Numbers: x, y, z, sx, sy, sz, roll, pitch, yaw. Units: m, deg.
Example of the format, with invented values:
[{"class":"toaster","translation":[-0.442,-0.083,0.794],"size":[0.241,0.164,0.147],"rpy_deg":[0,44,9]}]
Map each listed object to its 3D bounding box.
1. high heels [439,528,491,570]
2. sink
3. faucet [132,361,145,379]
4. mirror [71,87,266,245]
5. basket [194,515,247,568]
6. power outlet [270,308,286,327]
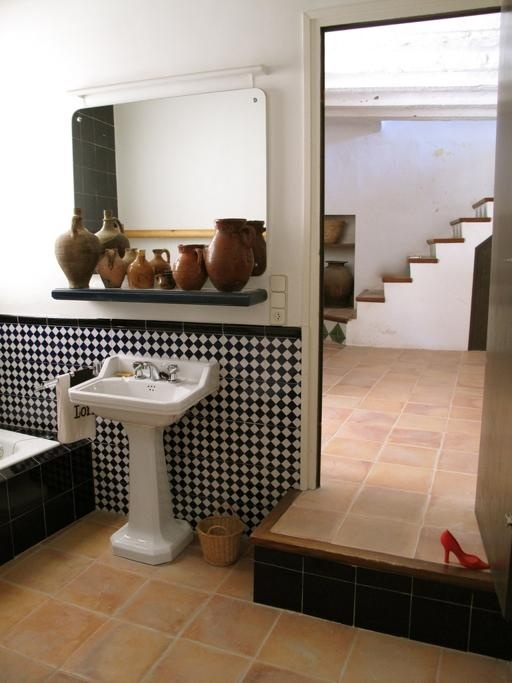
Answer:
[{"class":"high heels","translation":[0.690,0.684,1.813],"size":[0.185,0.131,0.071],"rpy_deg":[-1,-2,30]},{"class":"sink","translation":[-0.528,0.226,2.342],"size":[0.672,0.216,0.483],"rpy_deg":[2,12,20]},{"class":"faucet","translation":[-0.536,0.127,2.488],"size":[0.069,0.077,0.067],"rpy_deg":[1,2,1]},{"class":"mirror","translation":[-0.405,-0.761,2.413],"size":[0.984,0.630,0.092],"rpy_deg":[3,12,26]},{"class":"basket","translation":[-0.158,0.832,2.366],"size":[0.182,0.148,0.204],"rpy_deg":[-2,8,-7]},{"class":"power outlet","translation":[0.095,-0.107,2.302],"size":[0.068,0.067,0.033],"rpy_deg":[3,8,23]}]
